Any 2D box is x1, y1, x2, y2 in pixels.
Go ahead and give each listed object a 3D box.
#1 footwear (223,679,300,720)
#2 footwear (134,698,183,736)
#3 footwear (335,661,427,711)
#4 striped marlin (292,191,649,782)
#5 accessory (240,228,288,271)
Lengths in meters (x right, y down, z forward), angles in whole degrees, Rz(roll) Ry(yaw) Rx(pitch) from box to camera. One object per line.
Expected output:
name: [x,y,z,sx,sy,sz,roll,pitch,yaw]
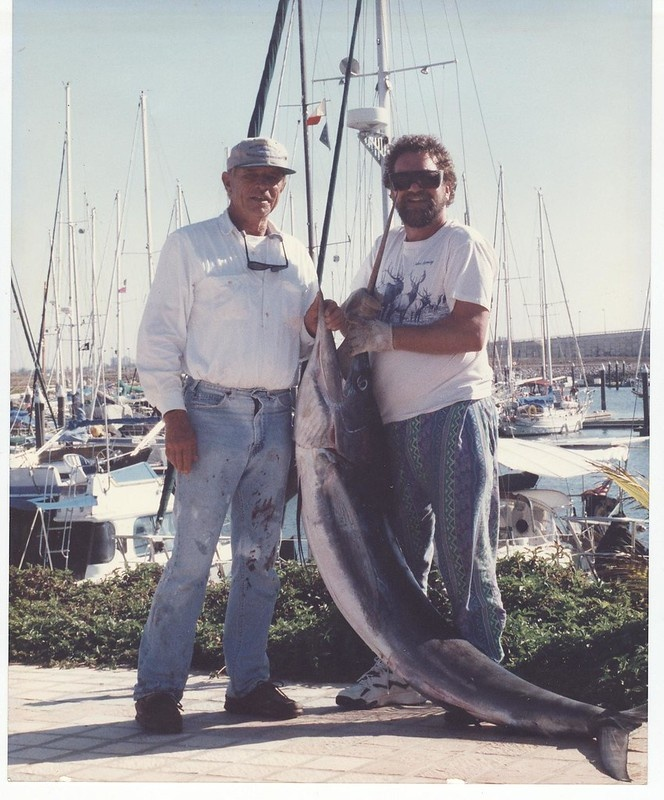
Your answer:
footwear: [-0.267,1.147,4.374,0.289,0.174,0.120,-1,-5,19]
footwear: [-0.636,1.139,4.157,0.194,0.129,0.133,-1,-4,5]
footwear: [0.170,1.093,4.440,0.387,0.249,0.152,4,-4,-9]
striped marlin: [0.325,-0.048,4.465,0.694,2.990,0.882,1,-23,-40]
accessory: [-0.246,-0.570,4.440,0.140,0.180,0.045,-8,-5,-33]
